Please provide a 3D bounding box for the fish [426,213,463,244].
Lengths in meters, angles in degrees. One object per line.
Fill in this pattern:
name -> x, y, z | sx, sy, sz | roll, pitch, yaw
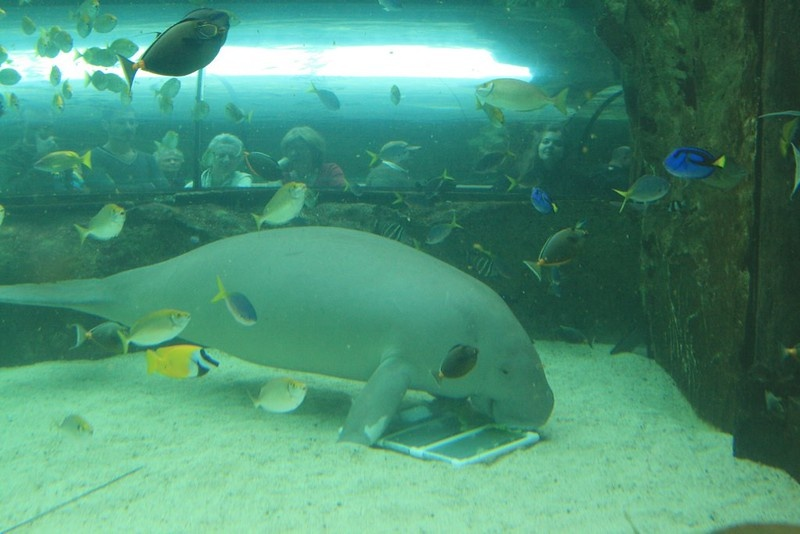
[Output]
fish -> 0.507, -0.425, 9.809 | 0.058, 0.209, 0.541 | -17, 10, 43

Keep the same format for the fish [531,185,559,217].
fish -> 1.494, -0.696, 8.848 | 0.173, 0.225, 0.427 | 33, 5, 5

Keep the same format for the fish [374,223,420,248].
fish -> -0.020, -0.354, 9.748 | 0.411, 0.153, 0.285 | 40, -6, 2

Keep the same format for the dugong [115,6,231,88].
dugong -> -1.987, -1.949, 7.538 | 1.083, 0.434, 0.493 | -39, 29, -6

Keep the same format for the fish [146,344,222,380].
fish -> -2.032, 0.872, 7.921 | 0.631, 0.372, 0.149 | -2, 14, -8

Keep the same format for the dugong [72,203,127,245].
dugong -> -3.029, -0.429, 8.663 | 0.556, 0.334, 0.156 | -24, -1, 1

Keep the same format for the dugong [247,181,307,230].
dugong -> -1.171, -0.631, 8.345 | 0.442, 0.632, 0.461 | 12, 20, 29
